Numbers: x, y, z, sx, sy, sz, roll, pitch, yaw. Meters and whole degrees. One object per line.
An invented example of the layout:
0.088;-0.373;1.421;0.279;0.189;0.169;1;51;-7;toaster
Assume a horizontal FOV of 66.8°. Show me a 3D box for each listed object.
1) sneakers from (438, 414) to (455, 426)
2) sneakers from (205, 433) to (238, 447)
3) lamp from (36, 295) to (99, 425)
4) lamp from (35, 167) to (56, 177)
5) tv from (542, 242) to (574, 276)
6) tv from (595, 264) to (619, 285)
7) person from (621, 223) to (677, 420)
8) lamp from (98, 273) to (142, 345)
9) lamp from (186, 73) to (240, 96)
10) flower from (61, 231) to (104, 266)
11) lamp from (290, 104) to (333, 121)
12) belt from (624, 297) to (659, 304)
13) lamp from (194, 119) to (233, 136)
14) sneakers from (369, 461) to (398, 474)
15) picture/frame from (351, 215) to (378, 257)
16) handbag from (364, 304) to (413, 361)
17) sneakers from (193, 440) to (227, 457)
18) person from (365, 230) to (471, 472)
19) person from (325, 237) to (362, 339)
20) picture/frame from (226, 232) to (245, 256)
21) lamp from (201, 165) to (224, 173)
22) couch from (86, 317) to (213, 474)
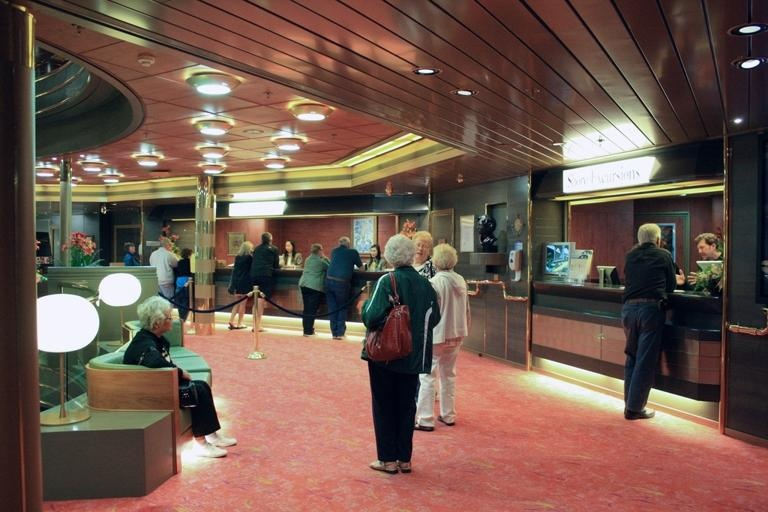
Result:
0.729;1.899;6.744;0.076;0.072;0.185;0;5;-26;sneakers
-1.689;1.910;6.069;0.274;0.093;0.150;4;-4;-13;sneakers
-2.949;0.940;5.455;0.471;1.284;1.386;-2;6;-31;lamp
-7.952;-1.983;13.748;0.556;0.115;0.518;-1;-4;6;lamp
2.755;0.049;9.182;0.063;0.489;0.582;11;-6;-24;tv
3.203;0.282;8.292;0.293;0.248;0.281;3;5;20;tv
3.219;0.794;7.120;0.553;2.339;0.585;2;6;12;person
-3.031;0.467;6.719;0.507;0.935;0.488;-2;8;-37;lamp
-2.000;-2.047;6.855;0.563;0.179;0.413;-1;5;-23;lamp
-4.801;-0.110;9.210;0.431;0.596;3.149;-2;6;-29;flower
-0.979;-1.972;7.924;0.561;0.168;0.363;0;5;-9;lamp
3.118;0.539;7.058;0.075;0.101;0.362;-4;7;-41;belt
-2.527;-1.937;8.667;0.550;0.159;0.553;-1;5;-18;lamp
0.003;2.013;5.601;0.258;0.100;0.104;5;2;44;sneakers
-0.448;-0.512;14.518;0.062;1.370;1.111;5;-5;-45;picture/frame
0.046;0.706;5.353;0.264;0.447;0.490;10;-14;-37;handbag
-1.746;1.952;5.890;0.302;0.103;0.163;4;-5;-4;sneakers
0.229;0.917;5.757;0.555;2.249;1.065;4;6;30;person
-0.787;0.639;11.416;0.685;1.985;0.830;0;6;-6;person
-4.078;-0.373;16.165;0.743;0.702;0.078;5;7;40;picture/frame
-3.534;-1.809;12.091;0.461;0.212;0.641;-1;5;-17;lamp
-2.409;1.481;6.111;0.961;1.005;1.415;1;5;-3;couch
